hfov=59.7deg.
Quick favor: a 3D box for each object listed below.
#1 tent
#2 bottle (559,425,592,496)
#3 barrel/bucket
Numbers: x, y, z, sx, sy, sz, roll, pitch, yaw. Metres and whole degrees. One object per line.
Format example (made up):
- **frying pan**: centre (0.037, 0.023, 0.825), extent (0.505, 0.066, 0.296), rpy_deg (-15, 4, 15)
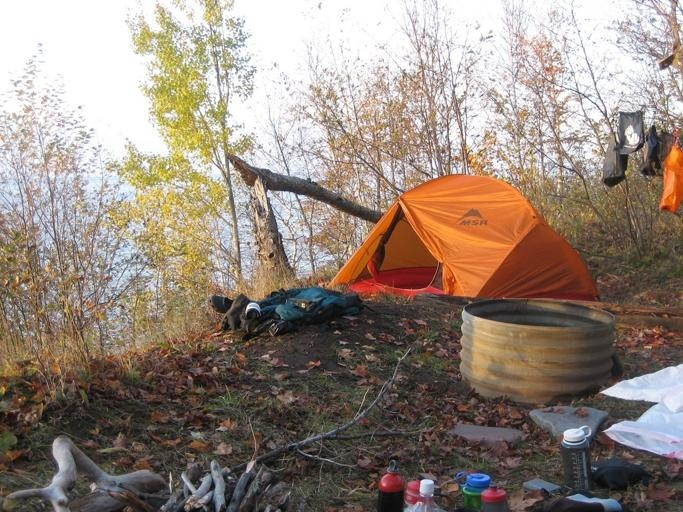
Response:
- **tent**: centre (1.899, -0.188, 10.061), extent (3.781, 2.348, 2.361), rpy_deg (-11, -7, 41)
- **bottle**: centre (1.850, 1.604, 4.726), extent (0.314, 0.427, 0.272), rpy_deg (5, 14, 5)
- **barrel/bucket**: centre (2.166, 1.038, 6.821), extent (1.712, 0.822, 1.702), rpy_deg (1, 7, 0)
